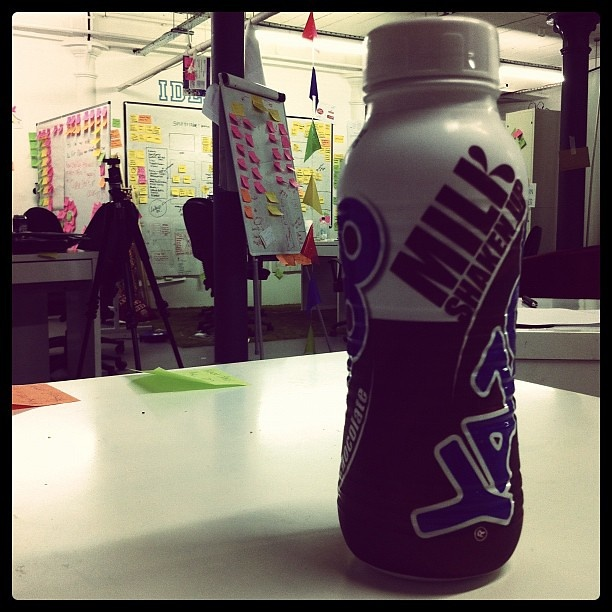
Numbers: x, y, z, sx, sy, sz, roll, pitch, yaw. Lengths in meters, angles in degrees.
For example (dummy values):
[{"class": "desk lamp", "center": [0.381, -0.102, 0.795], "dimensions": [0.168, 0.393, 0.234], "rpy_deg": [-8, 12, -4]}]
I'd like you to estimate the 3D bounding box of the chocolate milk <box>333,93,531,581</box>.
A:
[{"class": "chocolate milk", "center": [0.070, 0.015, 0.325], "dimensions": [0.097, 0.258, 0.054], "rpy_deg": [-1, 7, -9]}]
